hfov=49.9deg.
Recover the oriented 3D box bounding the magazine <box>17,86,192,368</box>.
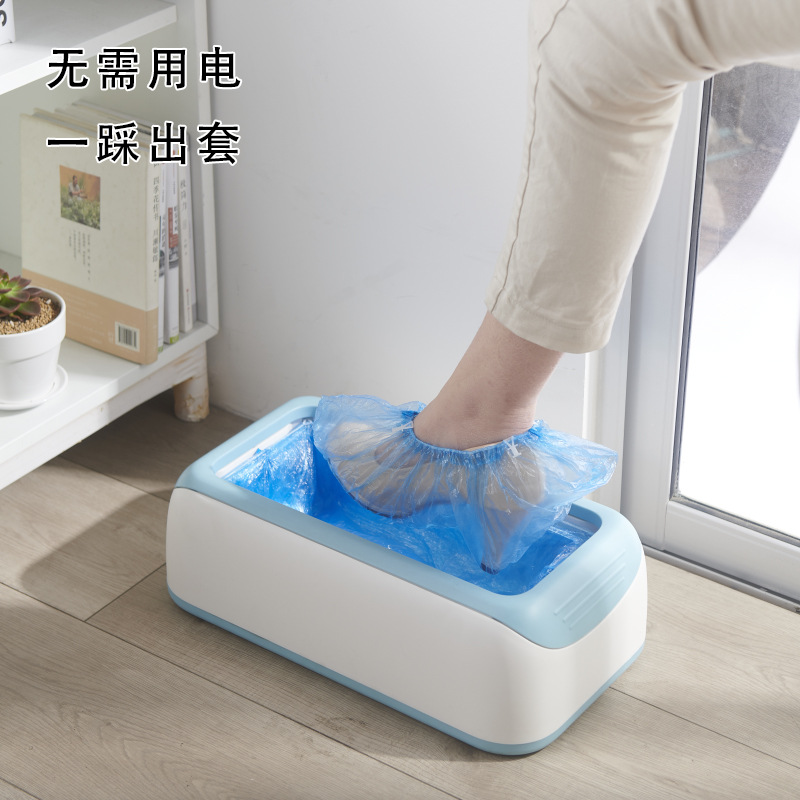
[{"bbox_3d":[-0.389,-0.227,1.130,0.298,0.304,0.190,24,31,35],"label":"magazine"}]

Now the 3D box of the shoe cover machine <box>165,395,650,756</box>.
[{"bbox_3d":[-0.011,0.136,0.863,0.428,0.133,0.257,16,30,27],"label":"shoe cover machine"}]
